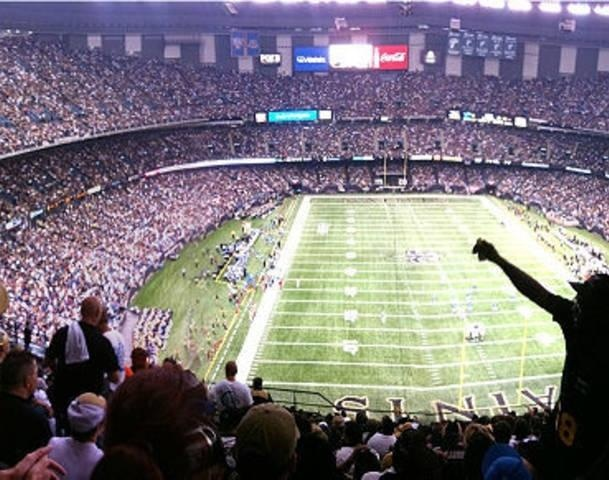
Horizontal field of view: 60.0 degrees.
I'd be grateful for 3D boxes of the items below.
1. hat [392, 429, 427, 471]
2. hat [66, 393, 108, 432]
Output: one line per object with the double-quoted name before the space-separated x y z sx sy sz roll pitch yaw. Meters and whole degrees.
"hat" 0.829 1.687 4.246 0.296 0.333 0.239 -11 -36 28
"hat" -1.682 1.326 4.068 0.266 0.311 0.201 20 -33 -19
